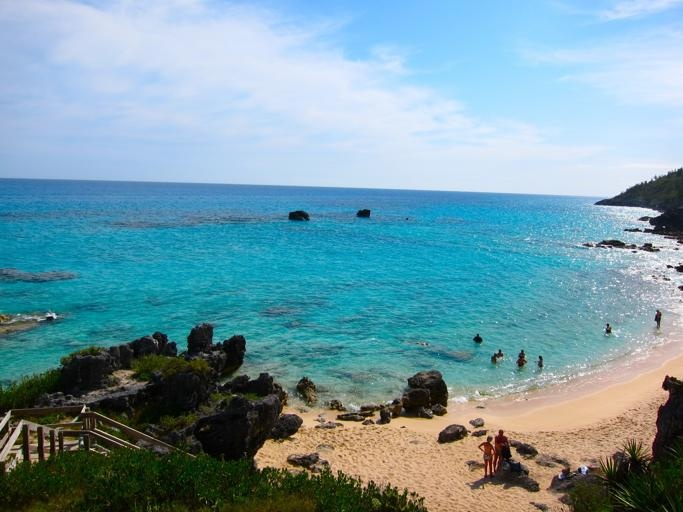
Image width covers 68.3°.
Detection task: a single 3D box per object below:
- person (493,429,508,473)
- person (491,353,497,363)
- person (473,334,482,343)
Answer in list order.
[{"bbox_3d":[8.577,10.481,27.412,0.730,2.111,0.758,13,4,19],"label":"person"},{"bbox_3d":[12.752,8.506,42.247,0.536,0.666,0.559,5,25,13],"label":"person"},{"bbox_3d":[12.369,7.471,45.665,0.842,0.749,1.096,9,4,12],"label":"person"}]
